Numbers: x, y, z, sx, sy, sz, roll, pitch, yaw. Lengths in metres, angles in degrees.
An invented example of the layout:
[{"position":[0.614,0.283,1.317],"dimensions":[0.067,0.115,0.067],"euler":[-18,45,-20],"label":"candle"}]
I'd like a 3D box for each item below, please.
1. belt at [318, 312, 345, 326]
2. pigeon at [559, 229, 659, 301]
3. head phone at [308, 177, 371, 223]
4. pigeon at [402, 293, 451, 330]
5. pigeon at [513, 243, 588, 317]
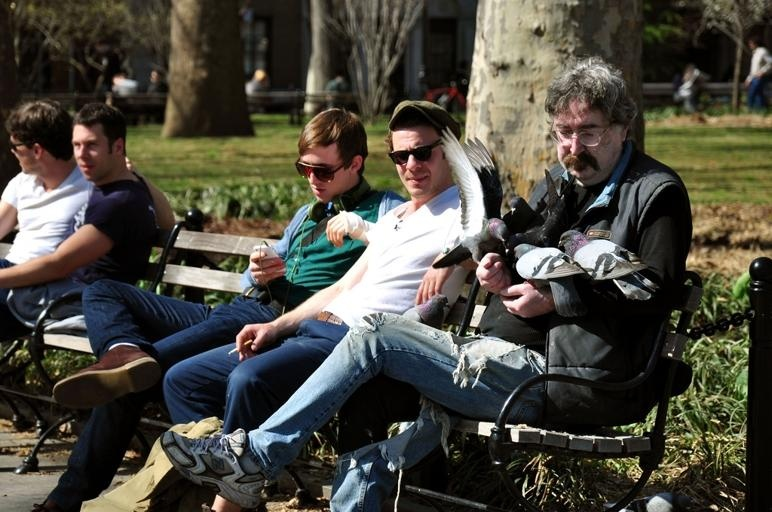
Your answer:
[{"position":[-0.352,0.376,6.121],"dimensions":[0.101,0.029,0.099],"euler":[25,44,19],"label":"belt"},{"position":[1.170,0.010,5.371],"dimensions":[0.239,0.273,0.568],"euler":[-26,24,-31],"label":"pigeon"},{"position":[-0.310,-0.358,6.634],"dimensions":[0.355,0.134,0.260],"euler":[-35,4,-18],"label":"head phone"},{"position":[0.236,0.315,5.836],"dimensions":[0.246,0.203,0.158],"euler":[17,2,3],"label":"pigeon"},{"position":[0.899,0.107,5.389],"dimensions":[0.634,0.480,0.256],"euler":[0,2,8],"label":"pigeon"}]
